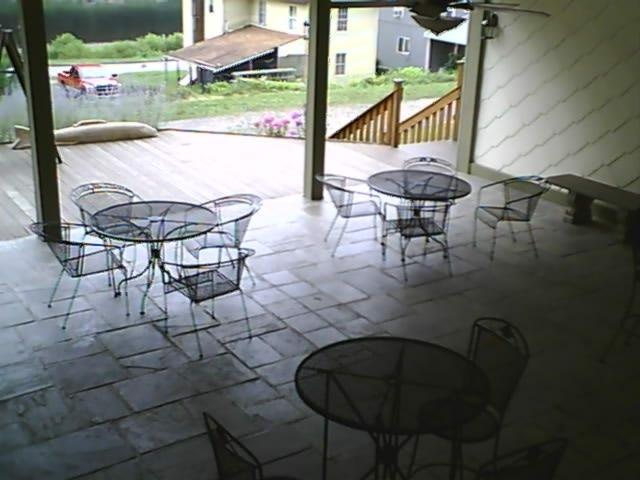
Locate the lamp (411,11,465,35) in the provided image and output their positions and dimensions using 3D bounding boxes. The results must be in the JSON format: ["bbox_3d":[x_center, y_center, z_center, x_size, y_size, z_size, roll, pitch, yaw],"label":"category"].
[{"bbox_3d":[0.924,-1.746,4.391,0.524,0.170,0.321,-18,31,-35],"label":"lamp"}]

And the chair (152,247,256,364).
[{"bbox_3d":[-1.097,0.659,5.177,0.759,0.747,0.606,-17,48,-30],"label":"chair"}]

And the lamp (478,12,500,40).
[{"bbox_3d":[2.736,-3.476,8.755,0.308,0.507,0.354,-25,32,-30],"label":"lamp"}]

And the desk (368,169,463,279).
[{"bbox_3d":[1.189,-0.275,6.640,1.200,0.881,1.729,0,25,-3],"label":"desk"}]

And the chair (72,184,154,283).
[{"bbox_3d":[-3.133,-0.283,8.486,1.064,0.992,1.016,25,11,23],"label":"chair"}]

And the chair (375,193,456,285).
[{"bbox_3d":[1.186,-0.077,6.224,0.598,0.649,0.600,-8,-9,31],"label":"chair"}]

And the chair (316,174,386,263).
[{"bbox_3d":[0.450,-0.306,6.791,0.903,0.811,0.782,0,9,23],"label":"chair"}]

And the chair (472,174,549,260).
[{"bbox_3d":[2.502,-0.363,7.173,0.852,0.889,0.827,-10,24,-23],"label":"chair"}]

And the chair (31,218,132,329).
[{"bbox_3d":[-2.352,0.228,5.415,0.629,0.622,0.520,-11,44,-29],"label":"chair"}]
